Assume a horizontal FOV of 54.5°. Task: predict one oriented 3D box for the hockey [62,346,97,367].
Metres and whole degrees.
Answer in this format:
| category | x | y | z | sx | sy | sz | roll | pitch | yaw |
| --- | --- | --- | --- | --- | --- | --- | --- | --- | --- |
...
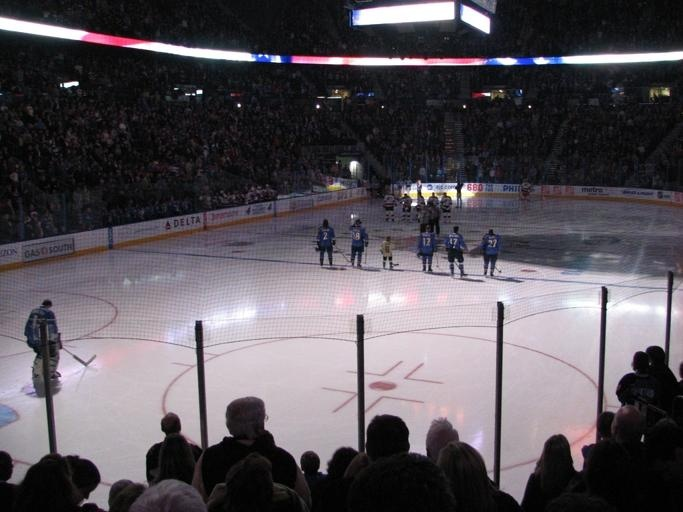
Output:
| category | x | y | z | sx | sy | sz | roll | pitch | yaw |
| --- | --- | --- | --- | --- | --- | --- | --- | --- | --- |
| hockey | -4.397 | 1.731 | 10.959 | 0.408 | 0.120 | 0.396 | 37 | 10 | -2 |
